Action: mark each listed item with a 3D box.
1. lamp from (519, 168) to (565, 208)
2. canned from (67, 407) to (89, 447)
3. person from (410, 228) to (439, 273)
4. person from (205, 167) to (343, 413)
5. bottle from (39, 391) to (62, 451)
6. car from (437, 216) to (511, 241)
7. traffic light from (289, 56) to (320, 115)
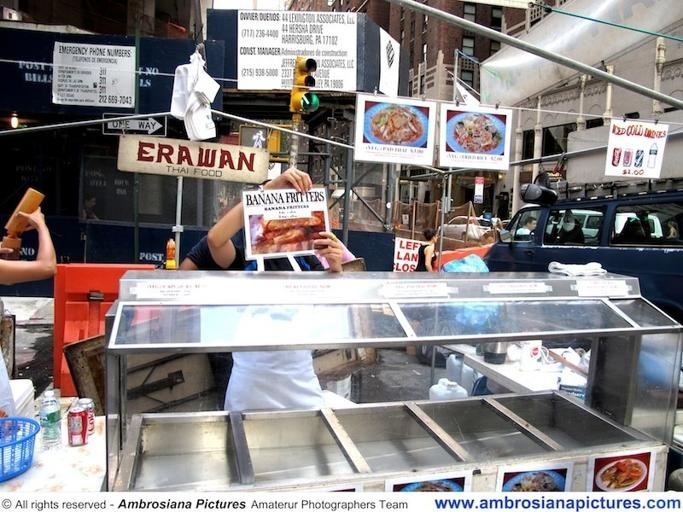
[{"bbox_3d":[3.278,-1.156,9.700,0.630,0.623,0.406,4,-8,13],"label":"lamp"},{"bbox_3d":[-1.698,1.097,3.790,0.155,0.216,0.155,-2,-3,28],"label":"canned"},{"bbox_3d":[1.582,-0.068,10.820,0.388,0.821,1.244,4,9,9],"label":"person"},{"bbox_3d":[-0.410,0.486,4.029,0.811,1.958,0.744,-5,5,-17],"label":"person"},{"bbox_3d":[-1.867,1.028,3.767,0.120,0.308,0.292,-2,10,-26],"label":"bottle"},{"bbox_3d":[3.848,-0.819,17.372,0.923,0.671,2.058,-2,8,-15],"label":"car"},{"bbox_3d":[-0.365,-1.728,5.859,0.264,0.600,0.625,2,9,-5],"label":"traffic light"}]
